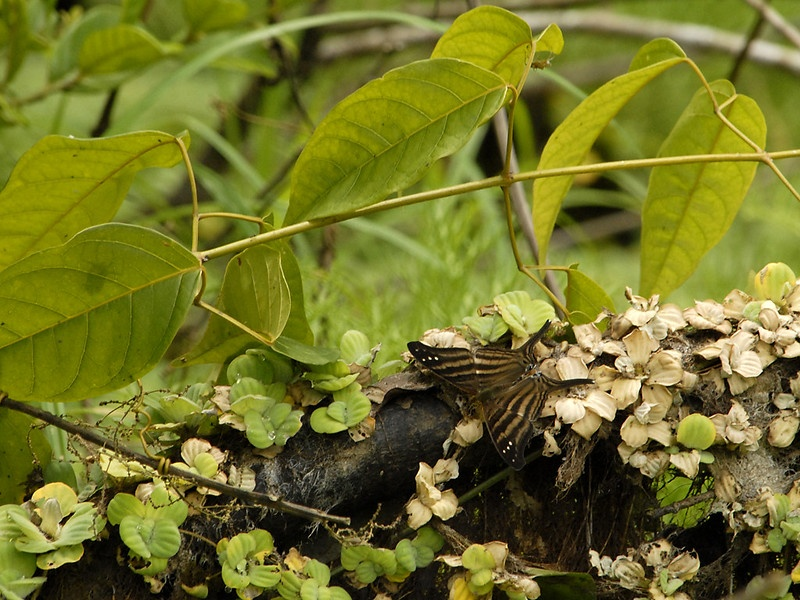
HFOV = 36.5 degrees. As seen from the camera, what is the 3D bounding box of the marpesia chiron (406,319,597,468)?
[{"bbox_3d":[0.202,0.161,2.218,0.234,0.077,0.343,-28,48,-13],"label":"marpesia chiron"}]
